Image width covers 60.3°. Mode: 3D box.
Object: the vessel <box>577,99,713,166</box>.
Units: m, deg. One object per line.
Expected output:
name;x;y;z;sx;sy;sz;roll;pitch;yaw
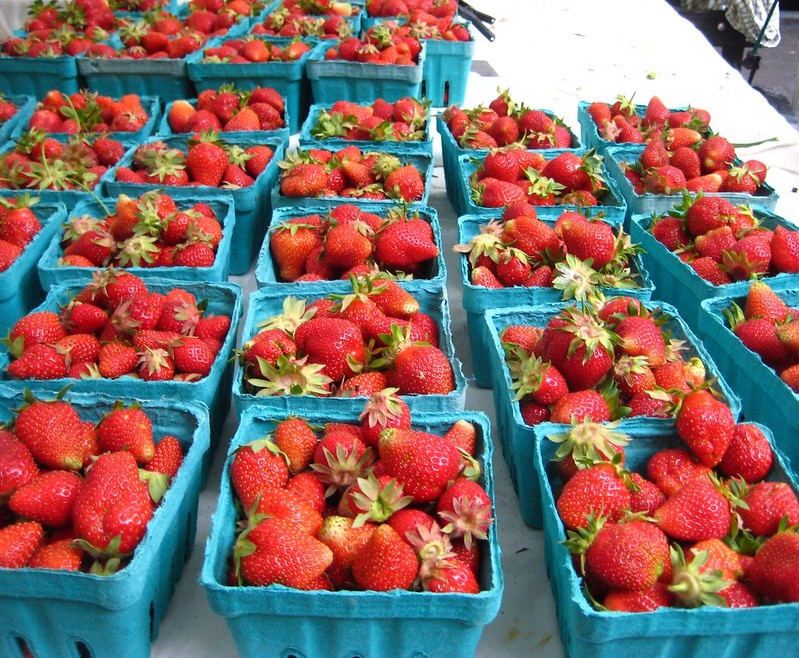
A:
vessel;1.037;-0.872;2.903;0.367;0.138;0.413;2;44;7

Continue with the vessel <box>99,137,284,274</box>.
vessel;-0.702;-0.470;2.617;0.463;0.402;0.635;9;38;6

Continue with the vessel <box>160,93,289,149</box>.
vessel;-0.740;-0.929;2.917;0.352;0.157;0.406;8;49;-2

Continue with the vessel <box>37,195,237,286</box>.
vessel;-0.833;-0.269;2.213;0.557;0.244;0.469;-1;41;-2

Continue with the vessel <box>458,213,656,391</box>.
vessel;0.466;-0.173;2.221;0.525;0.454;0.683;0;14;10

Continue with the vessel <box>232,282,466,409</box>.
vessel;-0.127;0.078;1.801;0.574;0.207;0.515;-1;41;-3
